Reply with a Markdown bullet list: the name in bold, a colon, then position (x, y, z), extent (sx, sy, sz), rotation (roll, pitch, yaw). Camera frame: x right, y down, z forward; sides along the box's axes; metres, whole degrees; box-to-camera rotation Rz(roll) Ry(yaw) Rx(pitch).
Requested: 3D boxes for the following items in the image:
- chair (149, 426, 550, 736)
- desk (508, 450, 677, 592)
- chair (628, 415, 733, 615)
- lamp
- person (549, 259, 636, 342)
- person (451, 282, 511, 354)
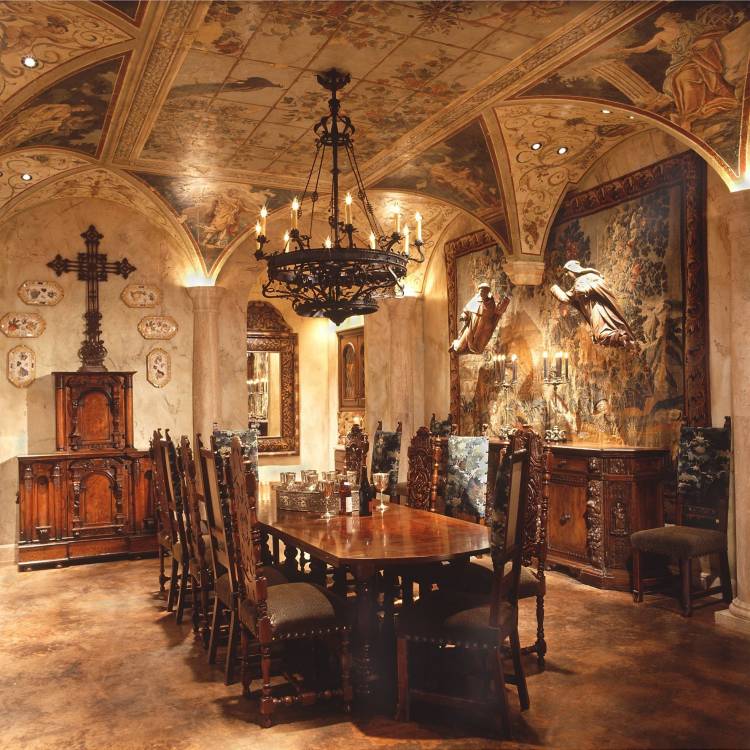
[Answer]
- **chair**: position (-0.309, 0.963, 3.817), extent (1.480, 1.314, 2.514), rotation (0, -3, -39)
- **desk**: position (1.760, 1.103, 5.696), extent (0.611, 1.051, 1.072), rotation (5, -5, -31)
- **chair**: position (2.186, 0.951, 4.919), extent (0.701, 1.288, 0.776), rotation (-1, -2, -18)
- **lamp**: position (-0.239, -1.150, 4.316), extent (0.970, 1.610, 1.014), rotation (0, -4, -12)
- **person**: position (1.874, -0.618, 5.763), extent (0.290, 0.780, 0.680), rotation (0, -2, -29)
- **person**: position (1.131, -0.620, 7.282), extent (0.244, 0.714, 0.827), rotation (-1, -2, -23)
